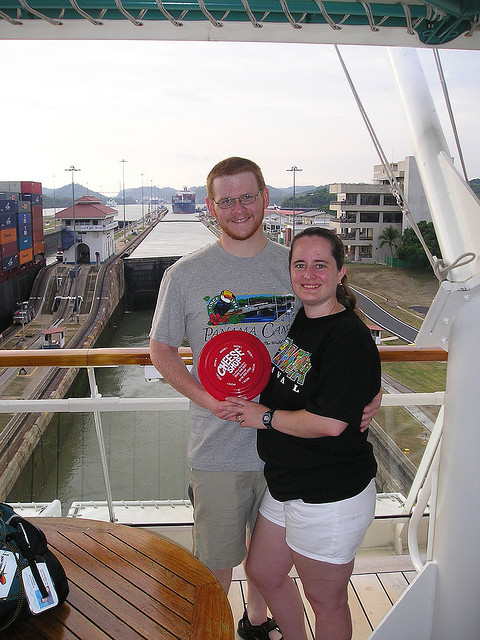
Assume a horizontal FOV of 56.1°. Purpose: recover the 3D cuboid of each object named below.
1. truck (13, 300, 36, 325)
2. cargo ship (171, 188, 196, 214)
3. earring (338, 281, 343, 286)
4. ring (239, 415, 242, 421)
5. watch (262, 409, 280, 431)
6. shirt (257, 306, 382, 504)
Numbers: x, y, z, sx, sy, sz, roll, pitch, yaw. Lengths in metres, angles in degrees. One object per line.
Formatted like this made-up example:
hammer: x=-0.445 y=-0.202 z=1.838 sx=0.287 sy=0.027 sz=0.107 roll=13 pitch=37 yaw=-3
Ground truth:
truck: x=-13.443 y=-0.560 z=27.904 sx=0.863 sy=1.142 sz=2.406 roll=-2 pitch=11 yaw=-3
cargo ship: x=-12.762 y=-26.212 z=100.406 sx=4.920 sy=3.110 sz=12.228 roll=10 pitch=-6 yaw=-11
earring: x=0.295 y=-0.110 z=1.326 sx=0.013 sy=0.013 sz=0.004 roll=0 pitch=-2 yaw=34
ring: x=0.001 y=0.272 z=1.263 sx=0.007 sy=0.006 sz=0.023 roll=1 pitch=49 yaw=-12
watch: x=0.073 y=0.258 z=1.188 sx=0.047 sy=0.048 sz=0.031 roll=5 pitch=3 yaw=-42
shirt: x=0.221 y=0.220 z=1.272 sx=0.324 sy=0.497 sz=0.535 roll=-3 pitch=8 yaw=-7
